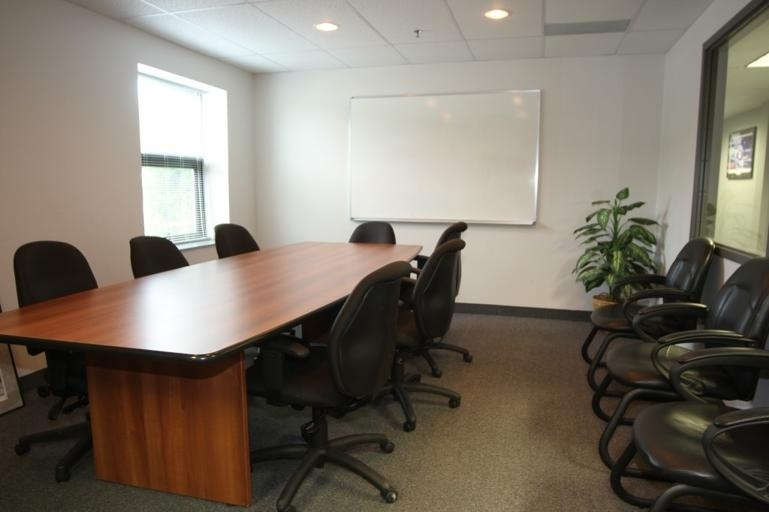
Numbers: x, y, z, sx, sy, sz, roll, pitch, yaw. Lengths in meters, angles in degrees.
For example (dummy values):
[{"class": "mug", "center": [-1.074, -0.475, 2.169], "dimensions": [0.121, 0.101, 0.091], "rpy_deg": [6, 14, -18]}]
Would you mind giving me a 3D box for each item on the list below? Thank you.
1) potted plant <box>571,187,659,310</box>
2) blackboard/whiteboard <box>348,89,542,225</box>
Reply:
[{"class": "potted plant", "center": [2.413, -0.019, 5.783], "dimensions": [0.792, 1.213, 0.743], "rpy_deg": [2, -2, -22]}, {"class": "blackboard/whiteboard", "center": [0.790, -1.187, 6.345], "dimensions": [1.727, 1.125, 0.057], "rpy_deg": [1, 4, 6]}]
